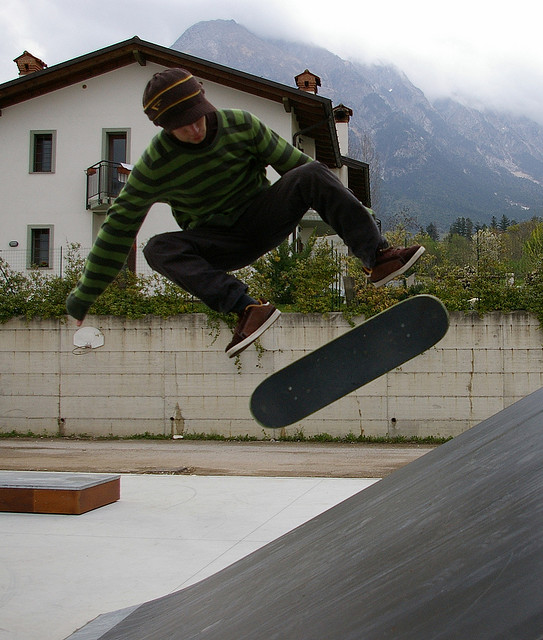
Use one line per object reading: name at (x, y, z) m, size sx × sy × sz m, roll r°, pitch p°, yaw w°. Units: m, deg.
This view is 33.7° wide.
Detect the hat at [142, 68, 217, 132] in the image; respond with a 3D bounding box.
hat at (-0.433, -1.026, 4.108) m, size 0.283 × 0.224 × 0.405 m, roll -25°, pitch 30°, yaw -12°

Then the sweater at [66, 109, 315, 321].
sweater at (-0.357, -0.528, 4.516) m, size 1.308 × 0.615 × 0.804 m, roll -24°, pitch -7°, yaw 4°

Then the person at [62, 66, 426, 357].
person at (-0.174, -0.497, 4.444) m, size 1.619 × 1.336 × 0.805 m, roll 1°, pitch 2°, yaw -6°
